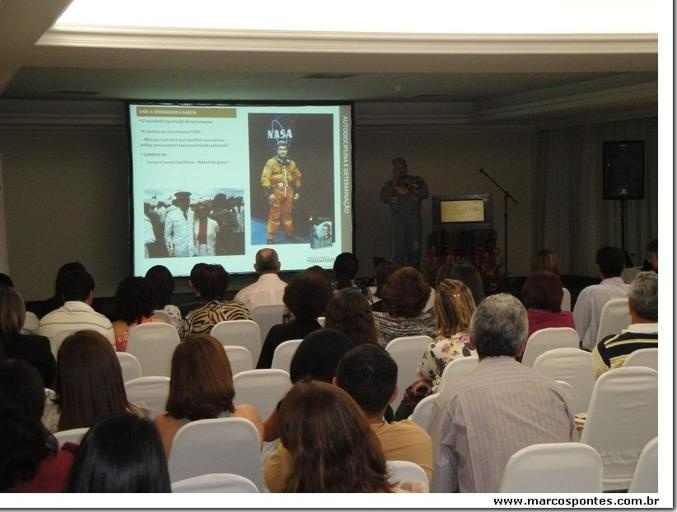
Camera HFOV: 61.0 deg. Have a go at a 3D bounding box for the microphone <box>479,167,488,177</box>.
[{"bbox_3d":[2.976,-1.690,11.754,0.114,0.216,0.102,5,-34,-43],"label":"microphone"}]

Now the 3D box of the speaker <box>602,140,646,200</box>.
[{"bbox_3d":[4.695,-1.370,9.364,0.723,1.055,0.588,1,2,44],"label":"speaker"}]

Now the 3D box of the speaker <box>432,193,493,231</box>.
[{"bbox_3d":[2.190,-0.891,10.161,1.048,0.708,0.603,0,32,15],"label":"speaker"}]
